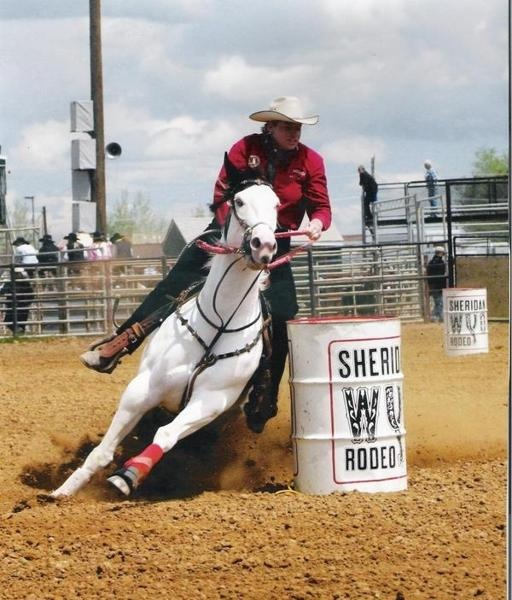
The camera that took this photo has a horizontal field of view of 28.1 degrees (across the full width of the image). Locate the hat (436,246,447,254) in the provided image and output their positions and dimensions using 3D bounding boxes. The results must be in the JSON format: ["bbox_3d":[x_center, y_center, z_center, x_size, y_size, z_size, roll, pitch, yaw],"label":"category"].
[{"bbox_3d":[3.081,-0.829,16.964,0.111,0.116,0.136,6,-23,25],"label":"hat"}]

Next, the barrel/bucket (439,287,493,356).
[{"bbox_3d":[2.659,0.272,12.874,0.559,0.830,0.389,1,6,7],"label":"barrel/bucket"}]

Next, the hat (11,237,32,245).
[{"bbox_3d":[-4.214,-1.044,18.199,0.288,0.071,0.262,0,-1,8],"label":"hat"}]

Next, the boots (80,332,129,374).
[{"bbox_3d":[-1.012,0.365,6.881,0.345,0.212,0.123,-44,4,2],"label":"boots"}]

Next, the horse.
[{"bbox_3d":[-0.445,0.206,6.082,1.164,1.820,1.045,0,6,1],"label":"horse"}]

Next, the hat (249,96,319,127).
[{"bbox_3d":[0.177,-1.202,6.482,0.427,0.172,0.215,0,6,2],"label":"hat"}]
